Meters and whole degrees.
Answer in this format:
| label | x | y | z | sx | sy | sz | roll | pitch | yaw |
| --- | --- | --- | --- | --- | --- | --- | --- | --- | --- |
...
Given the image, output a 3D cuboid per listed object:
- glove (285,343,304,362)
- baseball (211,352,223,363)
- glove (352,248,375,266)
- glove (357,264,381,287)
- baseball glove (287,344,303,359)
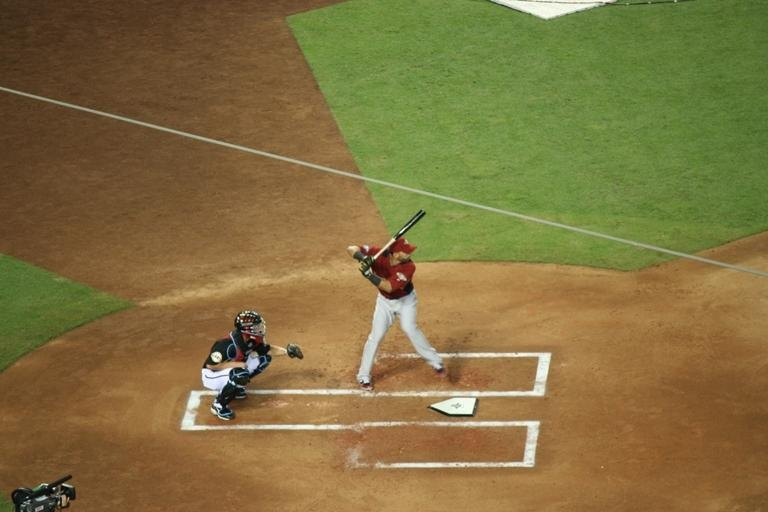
| label | x | y | z | sx | sy | sz | roll | pitch | yaw |
| --- | --- | --- | --- | --- | --- | --- | --- | --- | --- |
| glove | -1.978 | 2.114 | 25.631 | 0.456 | 0.294 | 0.365 | -5 | -53 | 2 |
| baseball | -3.642 | 2.182 | 24.980 | 0.222 | 0.233 | 0.117 | -1 | -17 | -2 |
| glove | -0.436 | 0.018 | 25.038 | 0.537 | 0.277 | 0.220 | 25 | 19 | 34 |
| glove | -0.243 | 0.404 | 24.984 | 0.573 | 0.356 | 0.220 | 38 | 24 | 1 |
| baseball glove | -2.000 | 2.136 | 25.652 | 0.380 | 0.285 | 0.334 | 42 | -13 | -9 |
